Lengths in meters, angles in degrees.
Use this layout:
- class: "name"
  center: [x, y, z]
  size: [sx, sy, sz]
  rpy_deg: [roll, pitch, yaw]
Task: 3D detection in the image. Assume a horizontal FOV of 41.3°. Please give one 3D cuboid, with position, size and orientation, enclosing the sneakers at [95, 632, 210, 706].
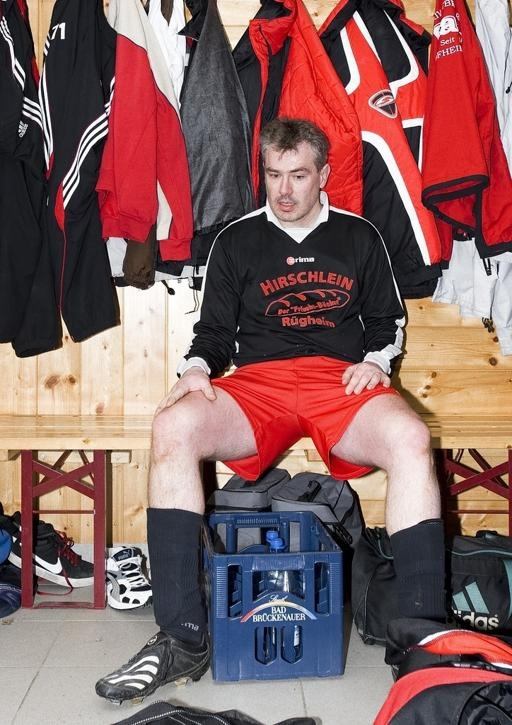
- class: "sneakers"
  center: [-0.198, 0.608, 1.369]
  size: [0.249, 0.118, 0.090]
  rpy_deg: [1, -2, -39]

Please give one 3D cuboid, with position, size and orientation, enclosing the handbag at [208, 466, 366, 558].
- class: "handbag"
  center: [0.120, 0.431, 2.009]
  size: [0.305, 0.130, 0.237]
  rpy_deg: [0, 4, -6]

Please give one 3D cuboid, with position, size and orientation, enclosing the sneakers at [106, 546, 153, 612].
- class: "sneakers"
  center: [-0.362, 0.621, 1.935]
  size: [0.088, 0.116, 0.248]
  rpy_deg: [1, -3, -16]

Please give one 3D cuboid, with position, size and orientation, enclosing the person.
- class: "person"
  center: [0.098, 0.014, 1.571]
  size: [0.658, 1.341, 0.690]
  rpy_deg: [0, -1, 15]
